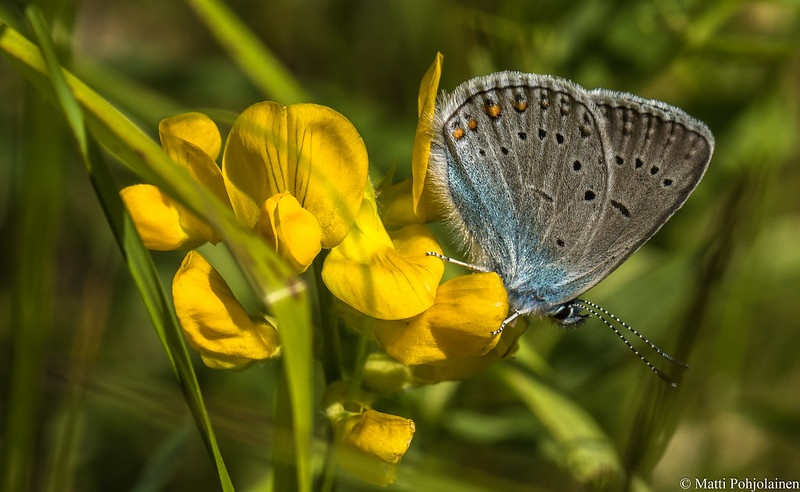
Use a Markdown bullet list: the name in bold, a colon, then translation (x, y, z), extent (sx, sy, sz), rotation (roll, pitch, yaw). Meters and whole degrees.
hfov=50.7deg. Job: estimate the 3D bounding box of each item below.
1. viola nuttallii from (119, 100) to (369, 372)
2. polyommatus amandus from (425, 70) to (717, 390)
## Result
- **viola nuttallii**: translation (-0.520, -0.043, 2.761), extent (0.781, 0.870, 0.288), rotation (3, 14, -9)
- **polyommatus amandus**: translation (0.500, -0.259, 3.338), extent (1.369, 0.709, 1.010), rotation (30, 26, -10)
